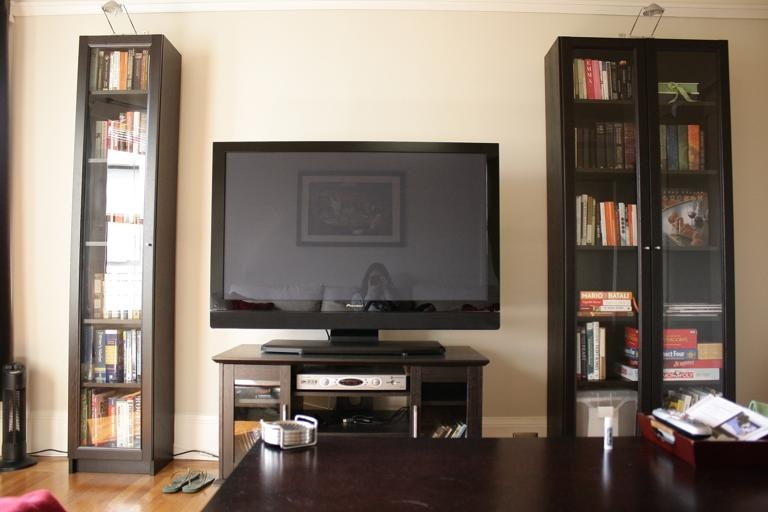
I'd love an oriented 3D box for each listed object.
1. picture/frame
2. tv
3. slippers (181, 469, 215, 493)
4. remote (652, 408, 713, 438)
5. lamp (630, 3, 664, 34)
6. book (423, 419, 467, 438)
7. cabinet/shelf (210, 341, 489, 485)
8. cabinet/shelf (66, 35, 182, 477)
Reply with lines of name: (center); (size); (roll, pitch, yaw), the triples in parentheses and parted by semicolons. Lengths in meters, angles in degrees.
picture/frame: (-0.211, -0.304, 4.832); (0.571, 0.370, 0.021); (1, 2, 1)
tv: (-0.195, -0.102, 4.833); (1.601, 1.016, 0.396); (0, 2, 0)
slippers: (-1.246, 1.517, 4.745); (0.083, 0.070, 0.204); (2, -3, 22)
remote: (1.483, 0.815, 3.539); (0.119, 0.059, 0.236); (4, 3, -33)
lamp: (1.889, -1.702, 5.085); (0.209, 0.259, 0.200); (8, 5, 1)
book: (0.400, 1.122, 4.649); (0.156, 0.125, 0.053); (-1, 5, 1)
cabinet/shelf: (-0.106, 1.090, 4.709); (1.944, 0.872, 0.607); (-4, -3, 23)
cabinet/shelf: (-1.821, -0.014, 5.007); (0.749, 3.016, 0.343); (-2, -1, 6)
